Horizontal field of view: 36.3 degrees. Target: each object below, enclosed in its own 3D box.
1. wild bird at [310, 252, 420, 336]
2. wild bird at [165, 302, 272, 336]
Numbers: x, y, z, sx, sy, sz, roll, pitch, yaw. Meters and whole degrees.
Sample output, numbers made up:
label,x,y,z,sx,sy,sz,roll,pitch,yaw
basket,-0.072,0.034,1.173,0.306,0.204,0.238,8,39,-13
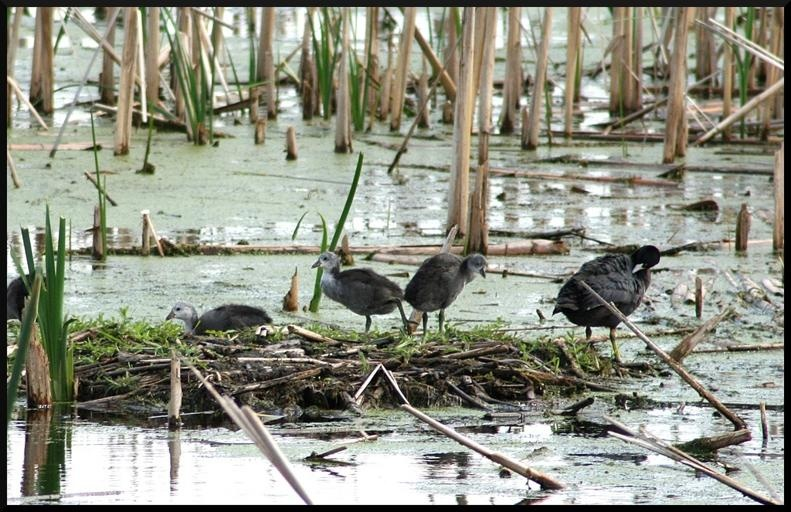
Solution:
label,x,y,z,sx,sy,sz,roll,pitch,yaw
wild bird,-0.365,0.353,12.175,0.896,0.773,0.456,3,7,37
wild bird,-1.771,0.623,12.016,1.093,0.289,0.451,1,5,18
